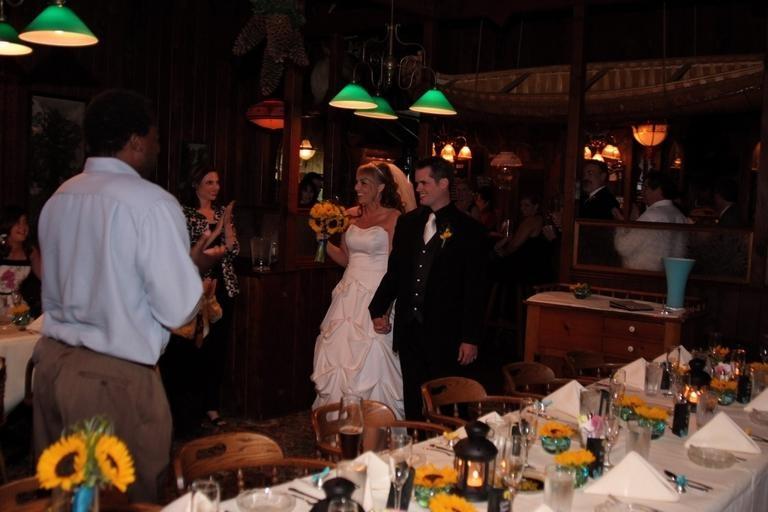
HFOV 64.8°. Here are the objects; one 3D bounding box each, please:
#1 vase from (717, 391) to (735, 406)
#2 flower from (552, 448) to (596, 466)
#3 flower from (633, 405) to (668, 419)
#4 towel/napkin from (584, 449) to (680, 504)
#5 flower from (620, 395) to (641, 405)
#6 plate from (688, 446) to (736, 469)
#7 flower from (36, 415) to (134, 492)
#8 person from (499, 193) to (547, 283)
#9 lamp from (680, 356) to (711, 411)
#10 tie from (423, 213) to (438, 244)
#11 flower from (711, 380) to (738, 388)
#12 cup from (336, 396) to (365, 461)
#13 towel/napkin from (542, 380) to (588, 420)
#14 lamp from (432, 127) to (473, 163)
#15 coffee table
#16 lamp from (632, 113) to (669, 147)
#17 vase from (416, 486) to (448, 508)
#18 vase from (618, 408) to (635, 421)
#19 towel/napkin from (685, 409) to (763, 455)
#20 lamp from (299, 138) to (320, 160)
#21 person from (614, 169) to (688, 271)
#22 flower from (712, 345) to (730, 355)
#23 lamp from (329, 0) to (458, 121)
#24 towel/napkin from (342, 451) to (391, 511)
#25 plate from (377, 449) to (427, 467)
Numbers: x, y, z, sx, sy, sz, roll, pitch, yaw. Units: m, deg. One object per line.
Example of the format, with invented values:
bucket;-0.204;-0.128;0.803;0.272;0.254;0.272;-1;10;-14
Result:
vase;2.007;0.829;3.535;0.088;0.067;0.089;-1;-3;17
flower;0.805;0.842;2.532;0.118;0.060;0.118;-8;-7;33
flower;1.318;0.774;2.979;0.120;0.052;0.117;0;-10;0
towel/napkin;1.056;0.923;2.545;0.251;0.120;0.204;4;-6;-6
flower;1.219;0.712;2.984;0.087;0.036;0.087;-5;-6;40
plate;1.539;0.946;2.835;0.114;0.045;0.109;-6;-3;35
flower;-0.993;0.690;2.110;0.281;0.254;0.303;3;5;7
person;1.871;-0.222;8.145;0.692;1.176;0.300;3;6;11
lamp;1.795;0.702;3.389;0.154;0.278;0.159;-5;-8;-16
tie;0.332;-0.200;4.354;0.072;0.240;0.031;12;-39;6
flower;1.980;0.740;3.535;0.083;0.034;0.084;0;-3;-8
cup;-0.158;0.821;2.723;0.114;0.372;0.107;3;1;0
towel/napkin;0.972;0.773;3.229;0.195;0.066;0.198;-24;48;-5
lamp;1.217;-1.926;10.511;0.628;0.371;0.225;9;29;42
coffee table;1.921;0.850;5.413;1.247;0.820;0.491;4;-1;24
lamp;3.802;-1.768;8.608;0.500;0.378;0.488;1;8;14
vase;0.188;0.944;2.421;0.127;0.056;0.106;-2;-6;15
vase;1.194;0.766;2.956;0.065;0.052;0.076;3;6;24
towel/napkin;1.641;0.860;2.931;0.256;0.133;0.193;-11;-6;43
lamp;-1.305;-1.814;10.096;0.211;0.376;1.041;1;5;-9
person;2.610;-0.342;5.909;0.643;0.960;0.409;4;6;22
flower;2.189;0.614;3.924;0.090;0.057;0.090;3;-6;-34
lamp;0.035;-2.092;6.643;1.046;1.339;3.123;2;5;-2
towel/napkin;-0.049;0.884;2.377;0.176;0.188;0.052;-10;0;8
plate;0.069;0.832;2.479;0.161;0.059;0.142;-5;-7;42
